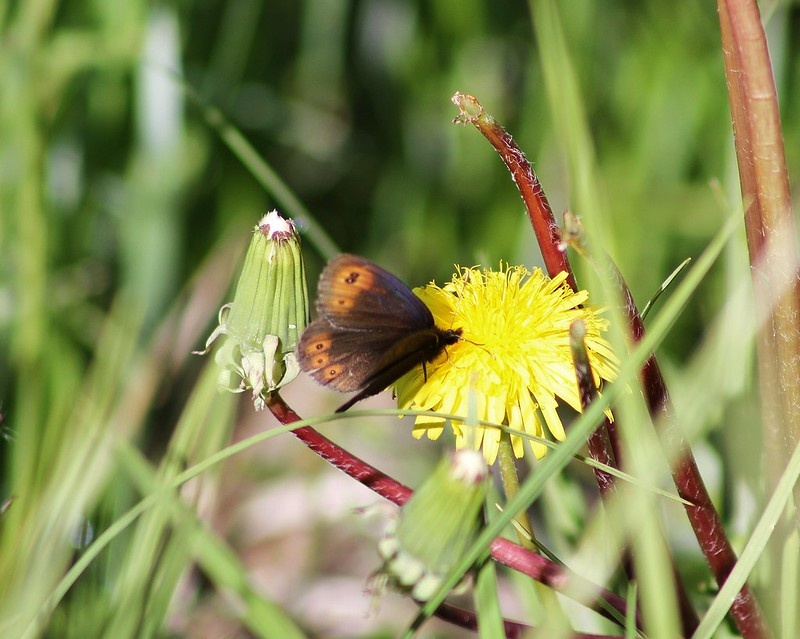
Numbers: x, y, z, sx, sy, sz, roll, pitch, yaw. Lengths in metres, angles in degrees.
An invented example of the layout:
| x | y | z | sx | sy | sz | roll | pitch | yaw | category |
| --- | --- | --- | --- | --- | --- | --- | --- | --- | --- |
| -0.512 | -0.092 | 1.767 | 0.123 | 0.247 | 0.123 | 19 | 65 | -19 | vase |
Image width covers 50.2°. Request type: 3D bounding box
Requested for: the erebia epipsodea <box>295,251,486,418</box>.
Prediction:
| x | y | z | sx | sy | sz | roll | pitch | yaw | category |
| --- | --- | --- | --- | --- | --- | --- | --- | --- | --- |
| -0.024 | 0.032 | 0.980 | 0.179 | 0.217 | 0.139 | -6 | 73 | -5 | erebia epipsodea |
